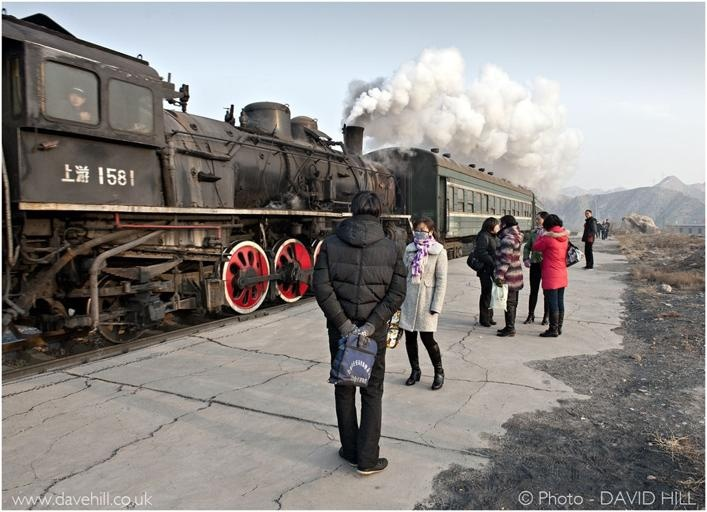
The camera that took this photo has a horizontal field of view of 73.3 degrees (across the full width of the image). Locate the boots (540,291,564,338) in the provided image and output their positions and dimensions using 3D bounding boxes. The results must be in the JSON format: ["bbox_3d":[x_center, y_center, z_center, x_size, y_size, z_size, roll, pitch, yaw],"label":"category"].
[{"bbox_3d":[3.147,0.881,7.573,0.309,0.766,0.414,2,8,22],"label":"boots"}]

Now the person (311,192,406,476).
[{"bbox_3d":[0.102,0.663,4.491,0.779,2.536,0.693,-7,10,-40],"label":"person"}]

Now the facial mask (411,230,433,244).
[{"bbox_3d":[0.839,-0.232,5.809,0.161,0.093,0.171,-1,-31,17],"label":"facial mask"}]

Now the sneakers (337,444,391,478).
[{"bbox_3d":[0.053,1.872,4.386,0.497,0.168,0.257,2,7,20],"label":"sneakers"}]

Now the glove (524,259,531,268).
[{"bbox_3d":[3.383,0.142,9.288,0.112,0.150,0.058,-3,-12,-5],"label":"glove"}]

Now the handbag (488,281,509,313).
[{"bbox_3d":[2.277,0.642,7.460,0.242,0.462,0.324,2,8,19],"label":"handbag"}]

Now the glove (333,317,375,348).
[{"bbox_3d":[0.026,0.689,4.296,0.257,0.259,0.116,9,-3,4],"label":"glove"}]
